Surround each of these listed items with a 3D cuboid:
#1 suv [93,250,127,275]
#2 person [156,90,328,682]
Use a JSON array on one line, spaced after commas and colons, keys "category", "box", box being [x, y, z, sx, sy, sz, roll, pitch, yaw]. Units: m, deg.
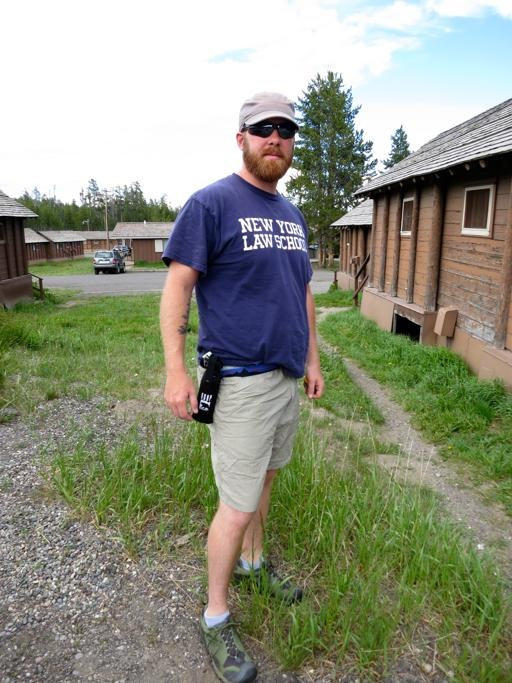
[{"category": "suv", "box": [-11.699, -6.448, 35.791, 1.497, 1.521, 3.388, 0, 18, -1]}, {"category": "person", "box": [-0.031, 0.056, 1.601, 0.449, 1.897, 0.753, 5, 8, 30]}]
